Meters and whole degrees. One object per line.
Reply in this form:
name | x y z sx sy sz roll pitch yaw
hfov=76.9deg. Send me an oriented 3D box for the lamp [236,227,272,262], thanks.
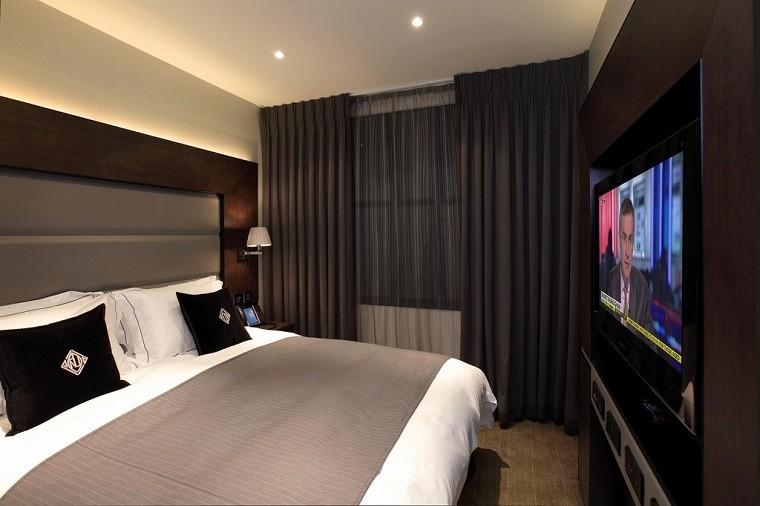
lamp | -1.221 -0.086 4.824 0.343 0.367 0.292 -3 -1 21
